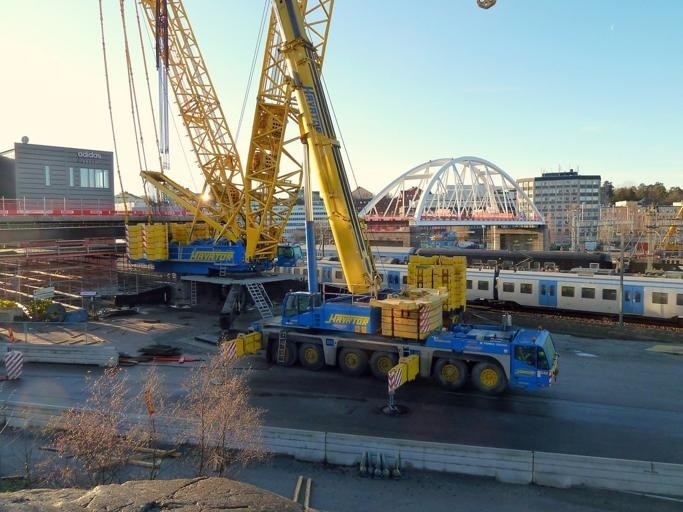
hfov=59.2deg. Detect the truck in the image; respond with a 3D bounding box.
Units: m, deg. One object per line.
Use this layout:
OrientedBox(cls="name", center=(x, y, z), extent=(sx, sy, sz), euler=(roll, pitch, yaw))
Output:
OrientedBox(cls="truck", center=(2.696, 4.359, 27.544), extent=(13.387, 2.840, 3.583), euler=(1, 2, 31))
